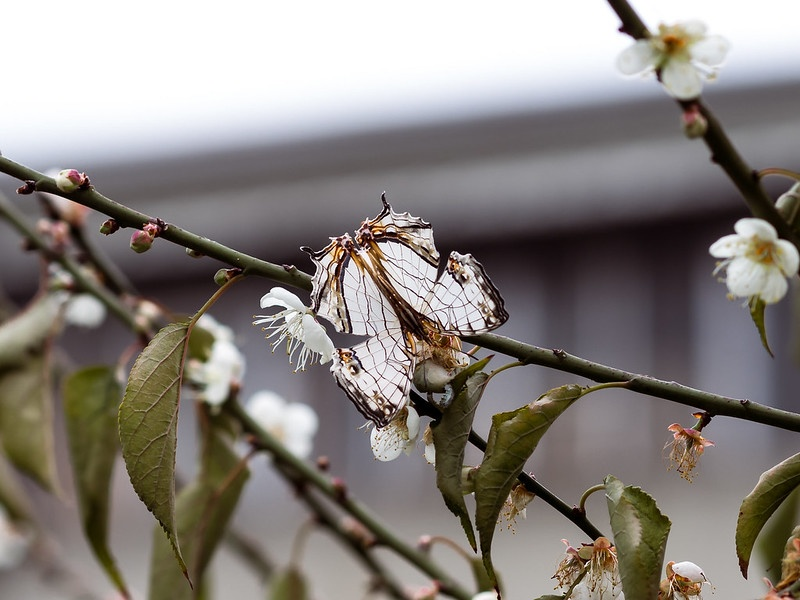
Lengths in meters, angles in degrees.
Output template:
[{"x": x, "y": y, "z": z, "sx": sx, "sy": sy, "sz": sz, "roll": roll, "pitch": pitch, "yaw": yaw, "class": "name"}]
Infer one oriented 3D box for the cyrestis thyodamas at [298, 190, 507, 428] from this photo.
[{"x": 0.031, "y": 0.020, "z": 1.741, "sx": 0.301, "sy": 0.353, "sz": 0.136, "roll": 29, "pitch": -63, "yaw": -27, "class": "cyrestis thyodamas"}]
